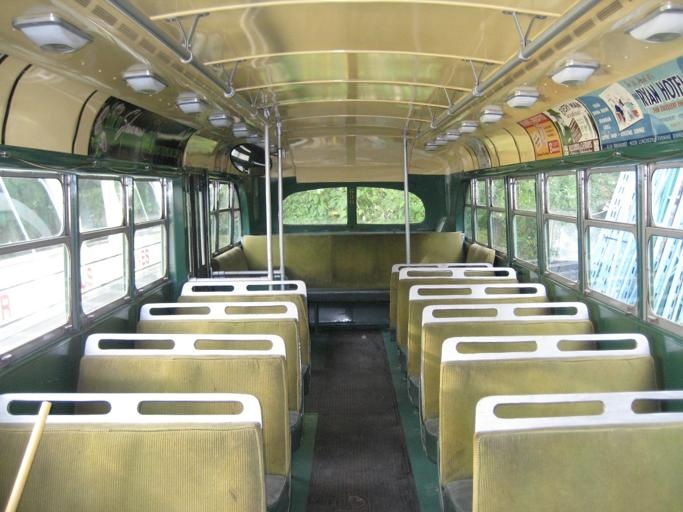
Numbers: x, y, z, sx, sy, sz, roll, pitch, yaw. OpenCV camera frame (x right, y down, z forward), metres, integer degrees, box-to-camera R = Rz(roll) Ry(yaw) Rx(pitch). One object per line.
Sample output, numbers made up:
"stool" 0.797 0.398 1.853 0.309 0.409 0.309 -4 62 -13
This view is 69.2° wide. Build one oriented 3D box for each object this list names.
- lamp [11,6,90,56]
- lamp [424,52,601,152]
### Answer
"lamp" -1.970 -1.494 3.358 0.303 0.164 0.487 2 9 21
"lamp" 1.983 -1.836 5.720 1.307 0.322 1.068 -4 -19 9
